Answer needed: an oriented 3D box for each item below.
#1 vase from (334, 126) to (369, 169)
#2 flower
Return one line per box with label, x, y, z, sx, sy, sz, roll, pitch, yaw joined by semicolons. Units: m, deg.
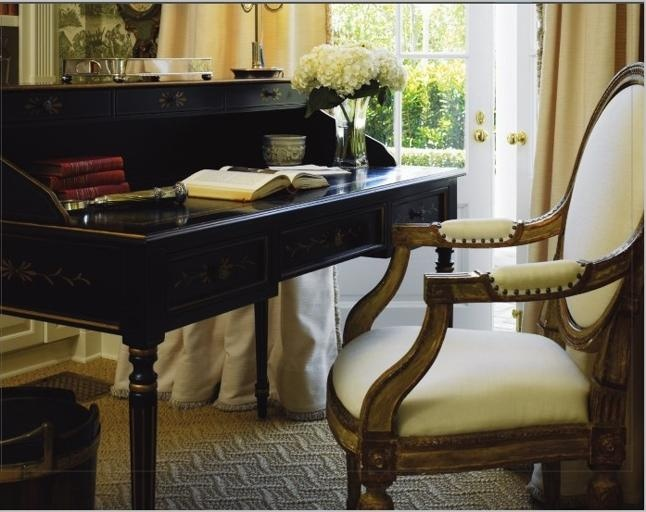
vase;0.095;-0.364;1.864;0.125;0.204;0.128;-2;8;-5
flower;0.120;-0.612;1.872;0.277;0.218;0.324;35;34;32
